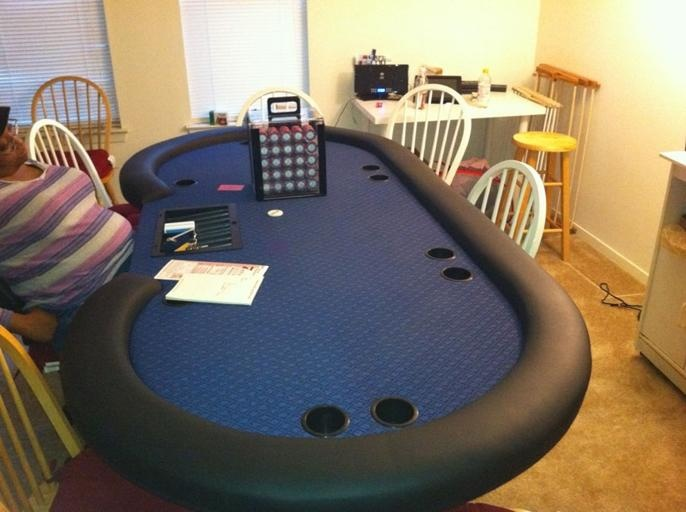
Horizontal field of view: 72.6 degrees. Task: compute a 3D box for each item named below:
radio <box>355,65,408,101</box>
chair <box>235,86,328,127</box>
[{"bbox_3d":[0.337,-1.481,4.081,0.478,0.256,0.225,1,14,2],"label":"radio"},{"bbox_3d":[-0.532,-1.165,3.595,0.579,0.257,0.963,-4,24,-11],"label":"chair"}]
